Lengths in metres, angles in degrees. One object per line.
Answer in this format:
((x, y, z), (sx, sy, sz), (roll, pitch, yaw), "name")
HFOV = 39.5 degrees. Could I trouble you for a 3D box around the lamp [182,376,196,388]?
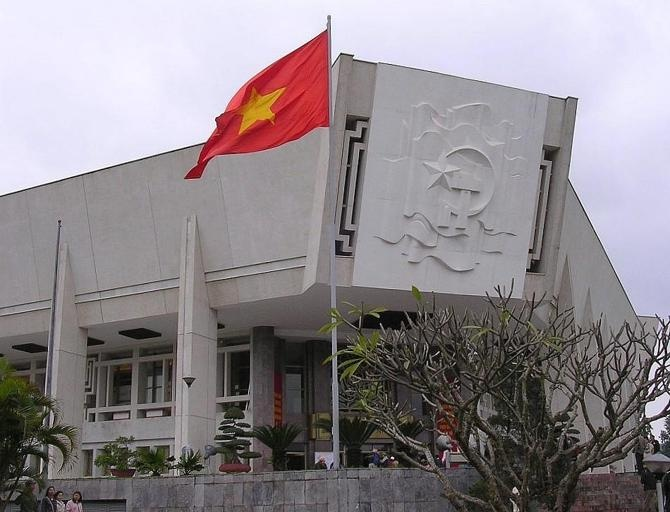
((-5.625, 4.762, 36.234), (0.468, 0.362, 0.493), (3, -20, -11), "lamp")
